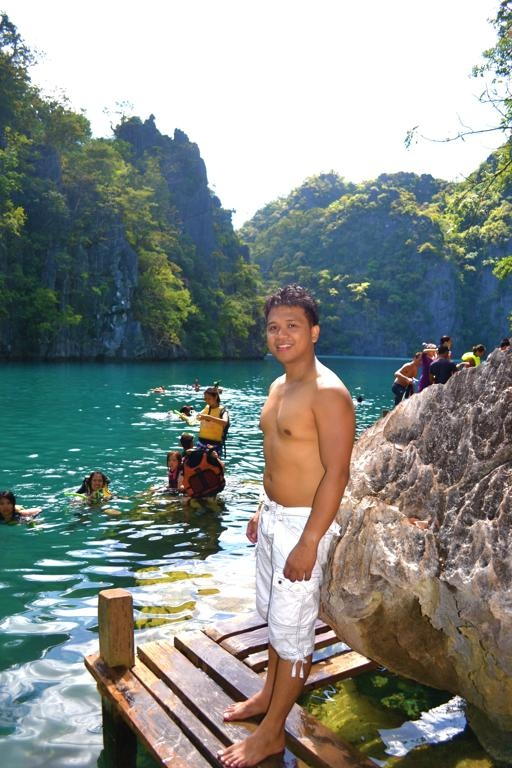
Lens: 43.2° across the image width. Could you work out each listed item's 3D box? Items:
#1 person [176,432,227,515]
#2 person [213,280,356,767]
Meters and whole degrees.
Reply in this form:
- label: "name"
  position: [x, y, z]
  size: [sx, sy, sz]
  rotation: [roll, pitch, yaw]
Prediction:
- label: "person"
  position: [-0.696, 1.252, 8.718]
  size: [0.568, 0.738, 0.407]
  rotation: [-22, -15, -5]
- label: "person"
  position: [0.124, 0.584, 2.862]
  size: [0.656, 2.038, 0.627]
  rotation: [-3, 6, 2]
